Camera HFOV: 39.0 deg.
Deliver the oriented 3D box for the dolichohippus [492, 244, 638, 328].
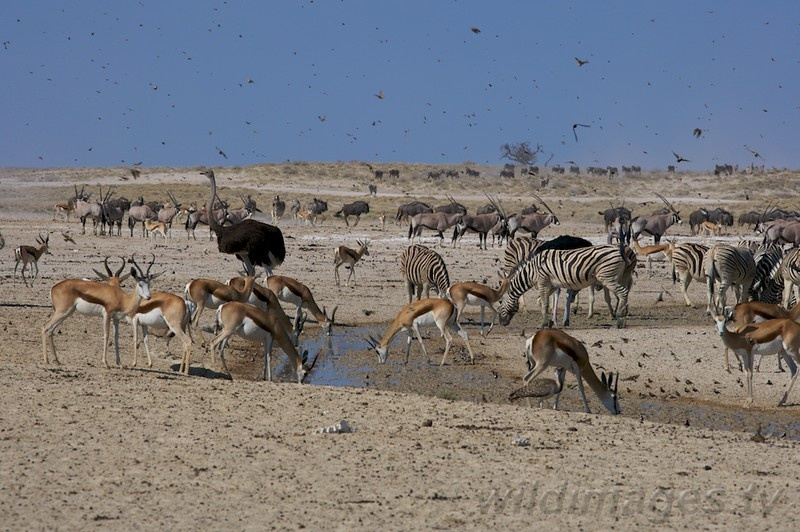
[{"bbox_3d":[4.217,0.550,29.267,3.513,2.061,1.027,-5,0,21],"label":"dolichohippus"}]
